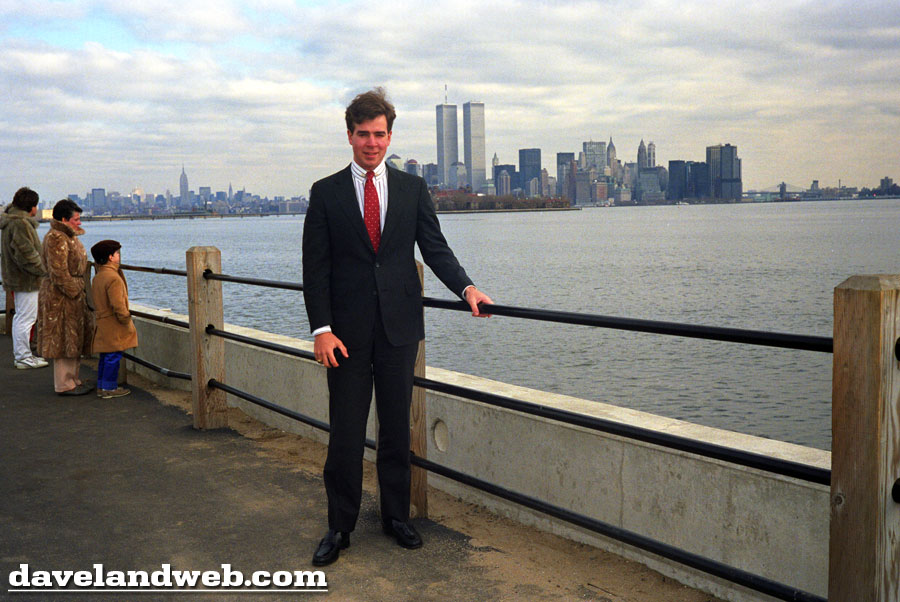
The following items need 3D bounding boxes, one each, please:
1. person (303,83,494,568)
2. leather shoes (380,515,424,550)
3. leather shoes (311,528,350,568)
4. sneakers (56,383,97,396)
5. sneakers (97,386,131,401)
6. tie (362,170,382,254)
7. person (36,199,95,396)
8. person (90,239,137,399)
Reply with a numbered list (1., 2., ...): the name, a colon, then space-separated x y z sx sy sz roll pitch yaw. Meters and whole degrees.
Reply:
1. person: -0.410 0.139 4.997 0.895 2.740 0.567 -1 11 -11
2. leather shoes: -0.290 1.433 5.195 0.118 0.119 0.295 -5 6 -42
3. leather shoes: -0.703 1.472 4.967 0.102 0.118 0.287 4 -4 19
4. sneakers: -3.743 0.898 8.399 0.334 0.217 0.118 6 -4 -15
5. sneakers: -3.307 0.902 8.288 0.325 0.124 0.116 -4 8 -33
6. tie: -0.454 -0.535 4.965 0.105 0.465 0.118 0 11 -6
7. person: -3.966 -0.072 8.543 0.520 1.862 1.005 -4 12 -24
8. person: -3.346 0.176 8.316 0.394 1.495 0.577 -4 12 -22
